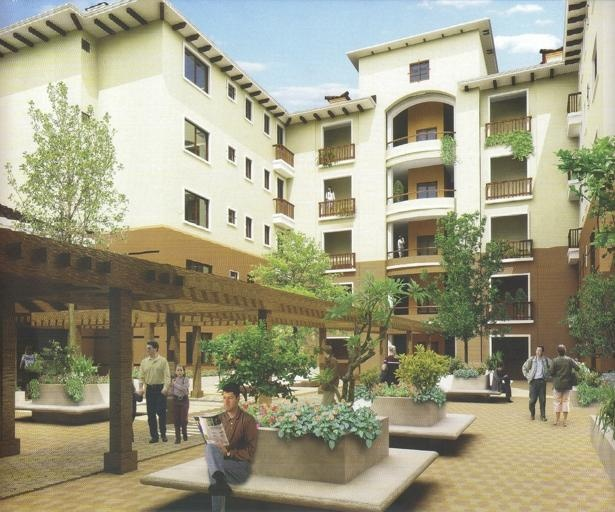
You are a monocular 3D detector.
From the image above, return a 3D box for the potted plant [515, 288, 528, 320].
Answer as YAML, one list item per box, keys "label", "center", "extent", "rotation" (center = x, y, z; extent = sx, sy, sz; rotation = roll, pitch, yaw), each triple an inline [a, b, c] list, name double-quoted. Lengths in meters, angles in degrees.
- label: "potted plant"
  center: [10.160, 2.241, 33.350]
  extent: [0.535, 1.512, 0.788]
  rotation: [-4, -9, 18]

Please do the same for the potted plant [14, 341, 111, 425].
- label: "potted plant"
  center: [-6.223, 3.457, 18.535]
  extent: [2.281, 1.791, 2.094]
  rotation: [-1, -10, 12]

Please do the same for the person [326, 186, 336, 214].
- label: "person"
  center: [1.277, -3.125, 39.731]
  extent: [0.485, 1.855, 1.426]
  rotation: [-1, -9, 0]

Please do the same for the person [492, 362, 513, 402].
- label: "person"
  center: [6.087, 3.949, 22.535]
  extent: [0.584, 1.202, 0.545]
  rotation: [-4, 17, -10]

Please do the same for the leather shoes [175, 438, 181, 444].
- label: "leather shoes"
  center: [-2.733, 3.879, 14.909]
  extent: [0.129, 0.141, 0.073]
  rotation: [-1, -2, 25]

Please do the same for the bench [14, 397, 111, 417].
- label: "bench"
  center: [-6.234, 3.834, 17.922]
  extent: [2.217, 0.370, 0.994]
  rotation: [-6, -11, 21]
